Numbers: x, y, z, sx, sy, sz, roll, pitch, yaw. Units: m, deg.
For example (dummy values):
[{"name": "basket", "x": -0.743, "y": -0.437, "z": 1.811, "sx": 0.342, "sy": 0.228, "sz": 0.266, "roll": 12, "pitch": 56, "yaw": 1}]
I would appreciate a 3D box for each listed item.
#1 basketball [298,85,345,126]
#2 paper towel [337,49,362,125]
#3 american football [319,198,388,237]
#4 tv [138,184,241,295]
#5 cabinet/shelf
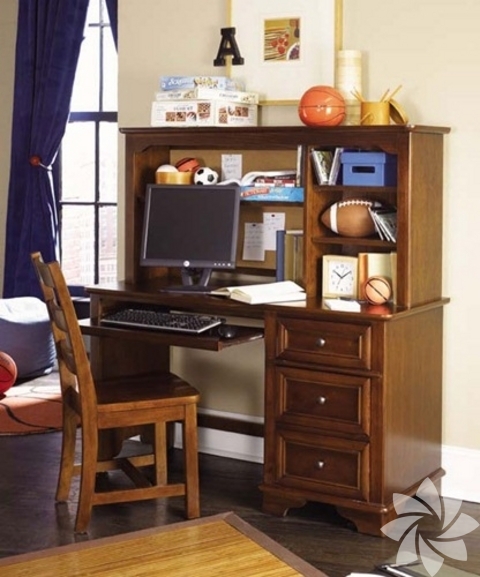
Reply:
[{"name": "basketball", "x": 0.316, "y": -0.698, "z": 2.241, "sx": 0.180, "sy": 0.166, "sz": 0.163, "roll": 5, "pitch": 13, "yaw": 37}, {"name": "paper towel", "x": 0.444, "y": -0.827, "z": 2.305, "sx": 0.081, "sy": 0.312, "sz": 0.119, "roll": 3, "pitch": 13, "yaw": 13}, {"name": "american football", "x": 0.433, "y": -0.283, "z": 2.196, "sx": 0.216, "sy": 0.145, "sz": 0.144, "roll": 9, "pitch": 12, "yaw": 41}, {"name": "tv", "x": -0.224, "y": -0.236, "z": 2.504, "sx": 0.545, "sy": 0.507, "sz": 0.179, "roll": 1, "pitch": -1, "yaw": 21}, {"name": "cabinet/shelf", "x": 0.050, "y": 0.079, "z": 2.407, "sx": 1.398, "sy": 1.463, "sz": 0.594, "roll": 4, "pitch": 9, "yaw": 31}]
